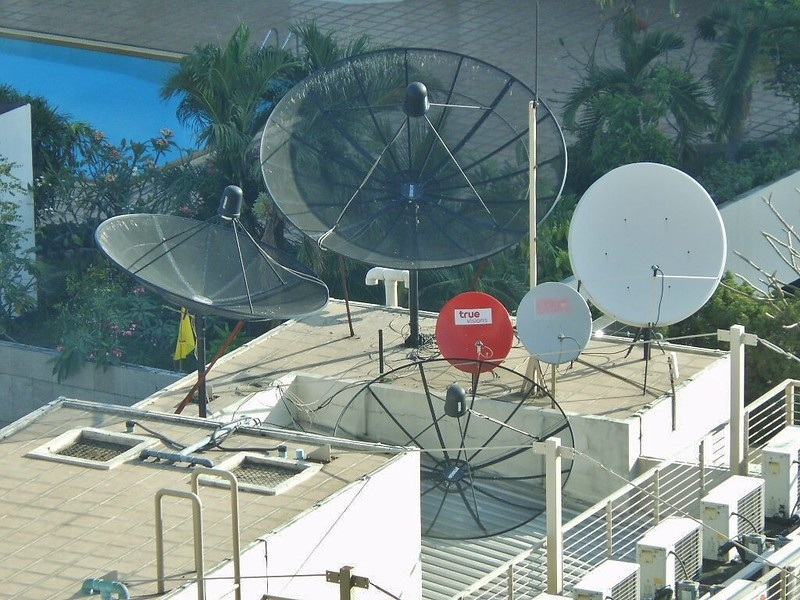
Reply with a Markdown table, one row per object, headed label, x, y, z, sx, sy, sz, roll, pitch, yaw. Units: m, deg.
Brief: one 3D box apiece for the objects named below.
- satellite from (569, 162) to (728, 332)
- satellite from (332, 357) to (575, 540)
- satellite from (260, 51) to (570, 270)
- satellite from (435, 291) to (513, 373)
| label | x | y | z | sx | sy | sz | roll | pitch | yaw |
| --- | --- | --- | --- | --- | --- | --- | --- | --- | --- |
| satellite | 5.569 | -1.225 | 43.856 | 3.552 | 3.634 | 1.088 | 17 | -5 | 6 |
| satellite | 1.690 | 3.933 | 44.280 | 5.028 | 3.955 | 3.568 | -1 | 15 | 14 |
| satellite | 0.026 | -3.385 | 45.604 | 5.810 | 5.199 | 1.228 | -1 | -8 | 3 |
| satellite | 1.587 | 0.706 | 43.590 | 1.702 | 1.752 | 0.413 | -22 | 2 | 10 |
